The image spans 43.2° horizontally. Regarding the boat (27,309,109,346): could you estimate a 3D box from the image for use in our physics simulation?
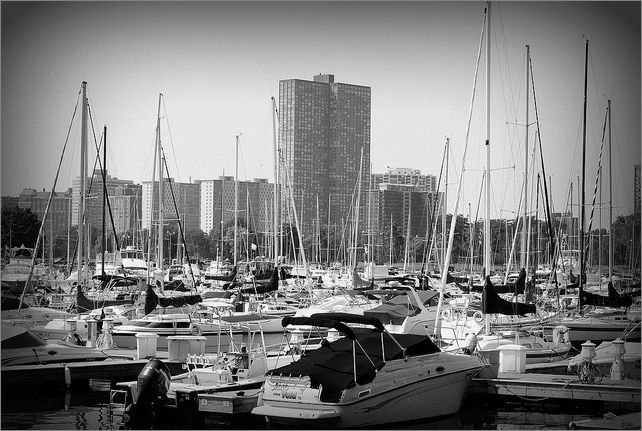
[{"bbox_3d":[-10.898,4.912,35.692,2.531,1.123,1.922,0,-1,4],"label":"boat"}]
